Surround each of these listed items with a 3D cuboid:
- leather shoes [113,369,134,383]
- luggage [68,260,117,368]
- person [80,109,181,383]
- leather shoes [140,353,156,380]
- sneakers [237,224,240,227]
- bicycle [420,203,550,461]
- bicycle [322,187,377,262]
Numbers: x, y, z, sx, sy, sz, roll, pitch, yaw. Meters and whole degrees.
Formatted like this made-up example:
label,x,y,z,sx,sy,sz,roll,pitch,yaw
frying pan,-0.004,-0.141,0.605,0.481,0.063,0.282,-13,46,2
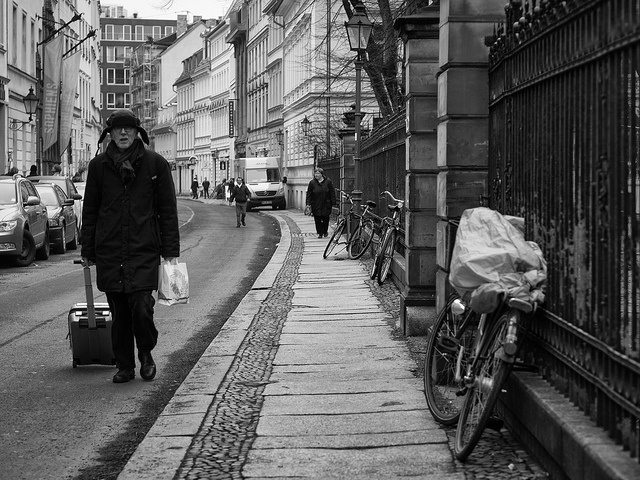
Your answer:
label,x,y,z,sx,sy,sz,roll,pitch,yaw
leather shoes,-1.736,1.213,6.775,0.072,0.099,0.212,-1,-8,15
luggage,-2.082,0.577,7.079,0.416,1.195,0.438,3,31,-5
person,-1.660,0.059,6.678,0.840,2.401,0.382,-1,3,-9
leather shoes,-1.532,1.135,6.841,0.090,0.118,0.281,-6,33,-14
sneakers,-3.458,-0.598,32.699,0.116,0.101,0.176,-2,-3,2
bicycle,1.085,0.506,5.218,0.413,1.259,1.842,19,9,-1
bicycle,0.886,-0.260,18.226,0.959,1.432,2.118,-9,-4,32
